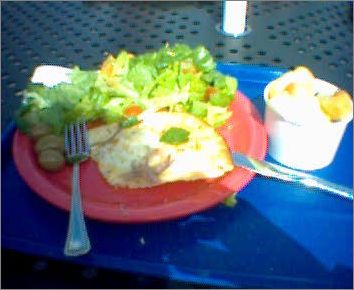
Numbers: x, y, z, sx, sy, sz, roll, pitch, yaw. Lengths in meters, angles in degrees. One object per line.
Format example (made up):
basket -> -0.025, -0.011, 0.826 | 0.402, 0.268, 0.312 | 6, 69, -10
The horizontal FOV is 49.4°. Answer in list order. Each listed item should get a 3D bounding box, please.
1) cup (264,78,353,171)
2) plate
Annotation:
cup -> 0.341, -0.024, 1.054 | 0.203, 0.169, 0.227 | -3, 39, 2
plate -> -0.080, 0.043, 1.042 | 0.497, 0.522, 0.061 | -3, 67, -1
